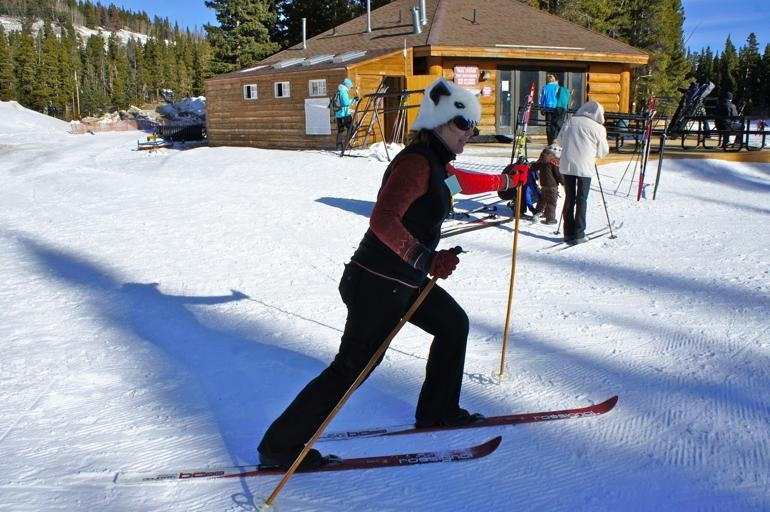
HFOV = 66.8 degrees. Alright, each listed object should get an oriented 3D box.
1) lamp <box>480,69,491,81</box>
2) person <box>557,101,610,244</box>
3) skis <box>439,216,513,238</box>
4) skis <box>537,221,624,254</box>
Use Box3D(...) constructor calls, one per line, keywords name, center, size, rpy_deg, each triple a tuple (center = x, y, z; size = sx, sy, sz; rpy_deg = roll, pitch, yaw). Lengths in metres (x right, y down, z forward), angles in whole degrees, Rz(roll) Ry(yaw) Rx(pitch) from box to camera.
Box3D(name="lamp", center=(3.276, -5.951, 19.410), size=(0.294, 0.326, 0.347), rpy_deg=(4, 6, -1))
Box3D(name="person", center=(3.134, -1.336, 9.504), size=(0.740, 2.262, 0.593), rpy_deg=(10, 20, 27))
Box3D(name="skis", center=(1.548, -0.476, 9.970), size=(1.084, 0.138, 0.265), rpy_deg=(-19, 21, -25))
Box3D(name="skis", center=(3.254, -0.287, 9.758), size=(1.538, 0.136, 0.194), rpy_deg=(-15, 48, -11))
